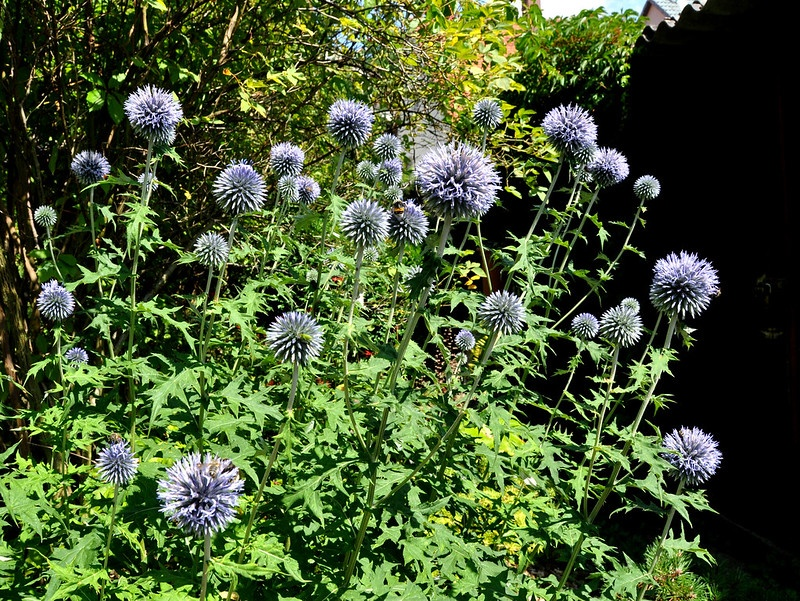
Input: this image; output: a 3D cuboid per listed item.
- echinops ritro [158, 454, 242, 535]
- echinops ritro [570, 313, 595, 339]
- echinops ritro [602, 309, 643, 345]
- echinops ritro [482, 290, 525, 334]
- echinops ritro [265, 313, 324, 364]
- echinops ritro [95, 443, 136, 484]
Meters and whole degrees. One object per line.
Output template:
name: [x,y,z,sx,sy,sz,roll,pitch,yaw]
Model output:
echinops ritro: [-1.270,1.252,4.563,0.370,0.342,0.418,39,-33,13]
echinops ritro: [1.731,0.252,6.742,0.185,0.197,0.231,-18,-11,7]
echinops ritro: [1.903,0.226,6.181,0.327,0.351,0.359,0,-26,14]
echinops ritro: [0.746,0.060,5.142,0.296,0.225,0.310,-2,-17,40]
echinops ritro: [-0.710,0.301,4.905,0.328,0.443,0.316,14,13,37]
echinops ritro: [-1.966,1.124,4.927,0.199,0.255,0.210,3,-3,-14]
